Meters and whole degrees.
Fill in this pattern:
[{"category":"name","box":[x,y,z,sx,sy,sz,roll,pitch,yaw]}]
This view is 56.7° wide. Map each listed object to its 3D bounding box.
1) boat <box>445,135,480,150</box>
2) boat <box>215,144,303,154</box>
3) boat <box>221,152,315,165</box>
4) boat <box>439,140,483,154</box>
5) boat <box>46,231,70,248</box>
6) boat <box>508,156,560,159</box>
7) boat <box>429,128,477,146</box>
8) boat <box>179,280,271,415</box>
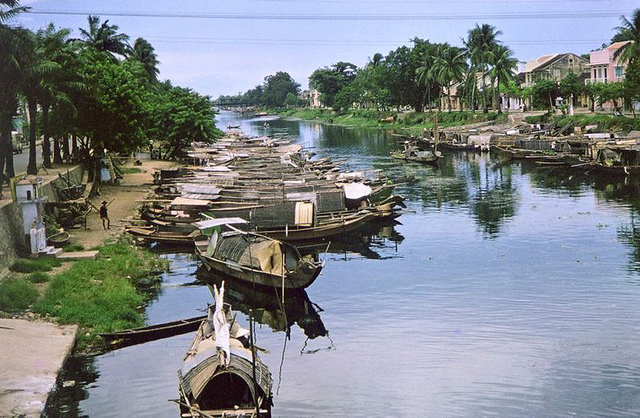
[{"category":"boat","box":[22.723,-9.978,90.543,7.377,2.349,1.459,2,0,41]},{"category":"boat","box":[-7.277,-7.296,73.063,4.691,0.707,14.222,3,9,40]},{"category":"boat","box":[-6.233,-5.616,65.483,9.763,1.393,1.695,-2,37,-6]},{"category":"boat","box":[21.648,-9.562,91.244,2.015,1.446,5.871,-2,8,-37]},{"category":"boat","box":[-16.712,1.943,37.697,1.172,0.725,1.722,-3,7,-5]},{"category":"boat","box":[27.053,-6.522,74.948,0.632,0.399,7.353,-5,7,-20]},{"category":"boat","box":[21.268,-12.153,98.291,5.410,1.370,4.892,5,13,42]},{"category":"boat","box":[-4.256,6.319,26.729,3.722,4.725,7.375,3,-3,-8]}]
